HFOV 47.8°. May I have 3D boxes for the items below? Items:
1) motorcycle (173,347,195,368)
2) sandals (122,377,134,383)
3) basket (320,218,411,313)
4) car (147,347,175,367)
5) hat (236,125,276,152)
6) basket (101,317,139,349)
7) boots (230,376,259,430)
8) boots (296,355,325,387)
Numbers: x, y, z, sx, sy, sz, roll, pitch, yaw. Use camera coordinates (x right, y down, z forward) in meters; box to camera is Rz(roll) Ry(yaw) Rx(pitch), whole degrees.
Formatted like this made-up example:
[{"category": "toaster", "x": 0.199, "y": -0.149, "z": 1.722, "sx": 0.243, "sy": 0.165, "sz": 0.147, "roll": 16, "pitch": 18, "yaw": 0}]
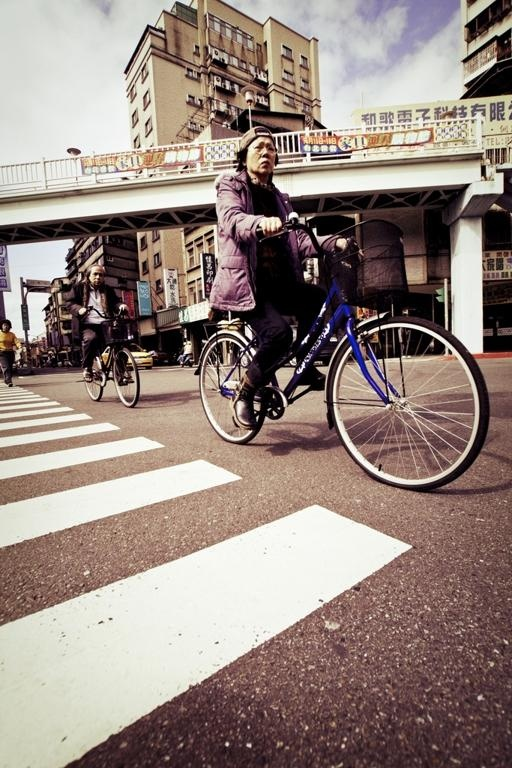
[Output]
[{"category": "motorcycle", "x": -2.903, "y": -1.001, "z": 23.927, "sx": 0.706, "sy": 1.073, "sz": 1.435, "roll": -2, "pitch": -3, "yaw": -19}, {"category": "sandals", "x": -1.277, "y": -0.023, "z": 5.736, "sx": 0.117, "sy": 0.091, "sz": 0.062, "roll": -1, "pitch": 5, "yaw": 35}, {"category": "basket", "x": 0.467, "y": -0.502, "z": 2.493, "sx": 0.334, "sy": 0.382, "sz": 0.331, "roll": -3, "pitch": -4, "yaw": -13}, {"category": "car", "x": -4.771, "y": -1.278, "z": 28.550, "sx": 0.858, "sy": 0.816, "sz": 2.113, "roll": 1, "pitch": 7, "yaw": 21}, {"category": "hat", "x": 0.015, "y": -1.238, "z": 3.018, "sx": 0.127, "sy": 0.117, "sz": 0.168, "roll": -14, "pitch": 5, "yaw": -33}, {"category": "basket", "x": -1.402, "y": -0.502, "z": 5.888, "sx": 0.295, "sy": 0.265, "sz": 0.253, "roll": -2, "pitch": 5, "yaw": 37}, {"category": "boots", "x": -0.056, "y": 0.123, "z": 3.236, "sx": 0.091, "sy": 0.241, "sz": 0.310, "roll": 1, "pitch": 25, "yaw": -13}, {"category": "boots", "x": 0.294, "y": -0.053, "z": 2.946, "sx": 0.093, "sy": 0.162, "sz": 0.051, "roll": 7, "pitch": -3, "yaw": 0}]
